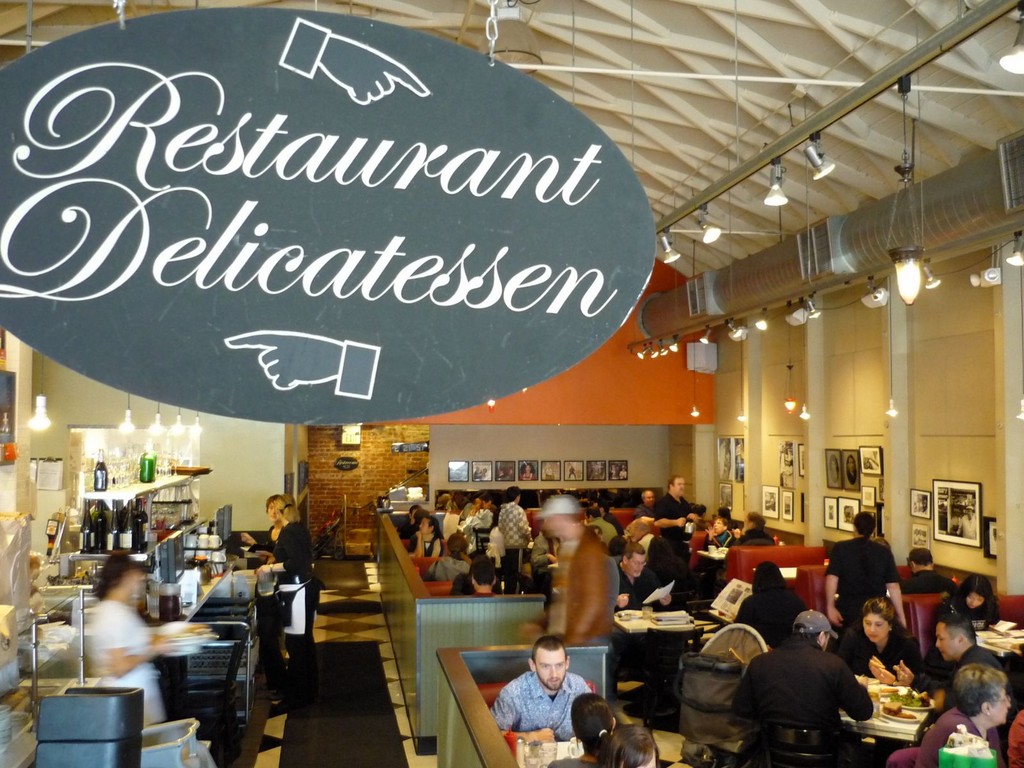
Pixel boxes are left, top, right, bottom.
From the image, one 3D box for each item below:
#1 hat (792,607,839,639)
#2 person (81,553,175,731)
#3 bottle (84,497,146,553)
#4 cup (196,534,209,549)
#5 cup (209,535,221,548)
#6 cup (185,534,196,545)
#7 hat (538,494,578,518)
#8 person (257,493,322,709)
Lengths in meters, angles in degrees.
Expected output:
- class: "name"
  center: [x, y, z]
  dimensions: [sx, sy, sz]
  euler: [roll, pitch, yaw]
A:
- class: "hat"
  center: [1.643, 1.356, 5.087]
  dimensions: [0.239, 0.166, 0.166]
  euler: [-3, 2, -32]
- class: "person"
  center: [-1.649, 1.130, 4.077]
  dimensions: [0.325, 0.727, 0.800]
  euler: [4, -8, -23]
- class: "bottle"
  center: [-2.345, 0.795, 5.585]
  dimensions: [0.309, 0.365, 0.336]
  euler: [0, -4, -16]
- class: "cup"
  center: [-2.399, 1.246, 7.354]
  dimensions: [0.072, 0.099, 0.081]
  euler: [-3, -4, 31]
- class: "cup"
  center: [-2.305, 1.247, 7.365]
  dimensions: [0.067, 0.143, 0.089]
  euler: [1, 2, -10]
- class: "cup"
  center: [-2.504, 1.234, 7.379]
  dimensions: [0.068, 0.095, 0.075]
  euler: [1, -8, -3]
- class: "hat"
  center: [0.276, 0.678, 5.082]
  dimensions: [0.131, 0.150, 0.146]
  euler: [2, -19, -2]
- class: "person"
  center: [-1.562, 1.582, 6.639]
  dimensions: [0.423, 1.470, 0.725]
  euler: [2, -8, -13]
